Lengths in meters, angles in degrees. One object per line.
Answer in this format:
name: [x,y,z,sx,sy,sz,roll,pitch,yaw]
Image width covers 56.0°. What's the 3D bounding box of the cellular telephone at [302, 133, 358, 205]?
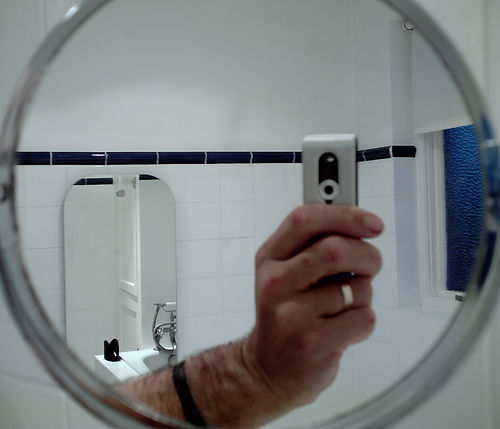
cellular telephone: [0.115,-0.064,0.674,0.078,0.099,0.034,-2,4,6]
